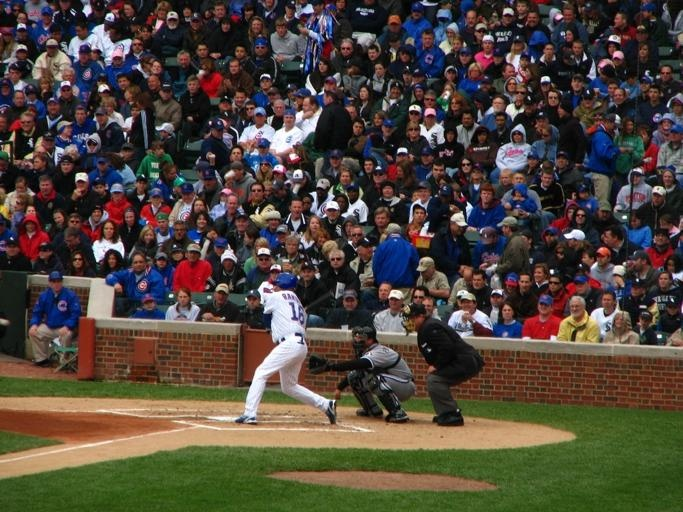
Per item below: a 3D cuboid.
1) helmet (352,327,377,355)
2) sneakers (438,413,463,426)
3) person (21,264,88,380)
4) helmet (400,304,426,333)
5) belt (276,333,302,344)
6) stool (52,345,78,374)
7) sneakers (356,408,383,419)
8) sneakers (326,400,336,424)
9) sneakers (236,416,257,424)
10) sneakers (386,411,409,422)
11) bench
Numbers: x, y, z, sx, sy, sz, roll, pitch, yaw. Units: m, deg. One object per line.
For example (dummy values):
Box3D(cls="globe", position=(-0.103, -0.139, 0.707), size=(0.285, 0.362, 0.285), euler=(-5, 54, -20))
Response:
Box3D(cls="helmet", position=(0.348, 1.722, 33.424), size=(0.389, 0.591, 0.539), euler=(3, -1, 29))
Box3D(cls="sneakers", position=(2.039, 3.255, 32.893), size=(0.484, 0.237, 0.203), euler=(2, 38, -2))
Box3D(cls="person", position=(-6.045, 1.465, 36.872), size=(1.048, 2.031, 0.650), euler=(1, 3, -1))
Box3D(cls="helmet", position=(1.341, 1.274, 32.946), size=(0.467, 0.540, 0.407), euler=(3, 9, -2))
Box3D(cls="belt", position=(-0.947, 1.653, 32.616), size=(0.263, 0.115, 0.220), euler=(-7, -8, 11))
Box3D(cls="stool", position=(-5.760, 2.317, 36.678), size=(0.488, 0.752, 0.504), euler=(1, 1, -8))
Box3D(cls="sneakers", position=(0.536, 3.144, 33.700), size=(0.531, 0.270, 0.195), euler=(6, 4, 11))
Box3D(cls="sneakers", position=(-0.202, 3.106, 32.779), size=(0.196, 0.507, 0.161), euler=(-7, 28, 0))
Box3D(cls="sneakers", position=(-1.773, 3.200, 32.511), size=(0.379, 0.235, 0.151), euler=(5, -2, -3))
Box3D(cls="sneakers", position=(1.033, 3.193, 33.162), size=(0.379, 0.232, 0.192), euler=(4, 0, 10))
Box3D(cls="bench", position=(-2.706, -2.883, 41.726), size=(2.319, 3.698, 2.703), euler=(0, 9, 1))
